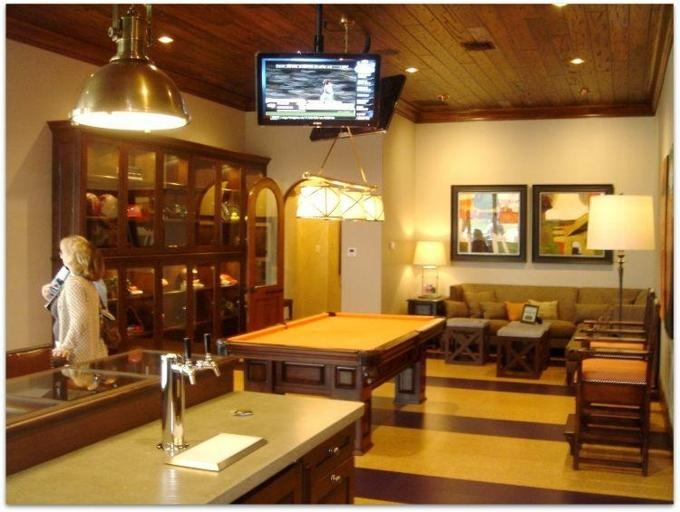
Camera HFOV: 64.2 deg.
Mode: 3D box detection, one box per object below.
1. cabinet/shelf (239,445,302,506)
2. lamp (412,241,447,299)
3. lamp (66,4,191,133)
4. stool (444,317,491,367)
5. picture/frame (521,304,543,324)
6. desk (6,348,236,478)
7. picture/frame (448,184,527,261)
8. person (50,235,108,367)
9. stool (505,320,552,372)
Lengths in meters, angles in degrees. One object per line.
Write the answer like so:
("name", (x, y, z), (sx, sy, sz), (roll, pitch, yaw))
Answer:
("cabinet/shelf", (-0.308, 1.010, 2.390), (0.175, 0.188, 0.324), (-2, -2, 28))
("lamp", (1.532, 0.229, 9.234), (0.596, 0.958, 0.571), (0, 3, 9))
("lamp", (-0.999, -0.930, 2.532), (0.465, 0.644, 0.438), (-3, 4, -41))
("stool", (1.887, 1.296, 8.144), (0.693, 0.669, 0.682), (-1, -6, 17))
("picture/frame", (2.907, 0.881, 8.137), (0.288, 0.371, 0.312), (7, -10, -43))
("desk", (-1.225, 0.691, 2.532), (0.510, 0.253, 0.920), (2, 3, 30))
("picture/frame", (2.575, -0.557, 9.235), (1.406, 1.385, 0.101), (0, -1, 13))
("person", (-2.013, 0.328, 4.165), (0.363, 0.953, 0.502), (-2, 4, -24))
("stool", (2.615, 1.326, 7.601), (0.608, 0.650, 1.132), (1, 0, 26))
